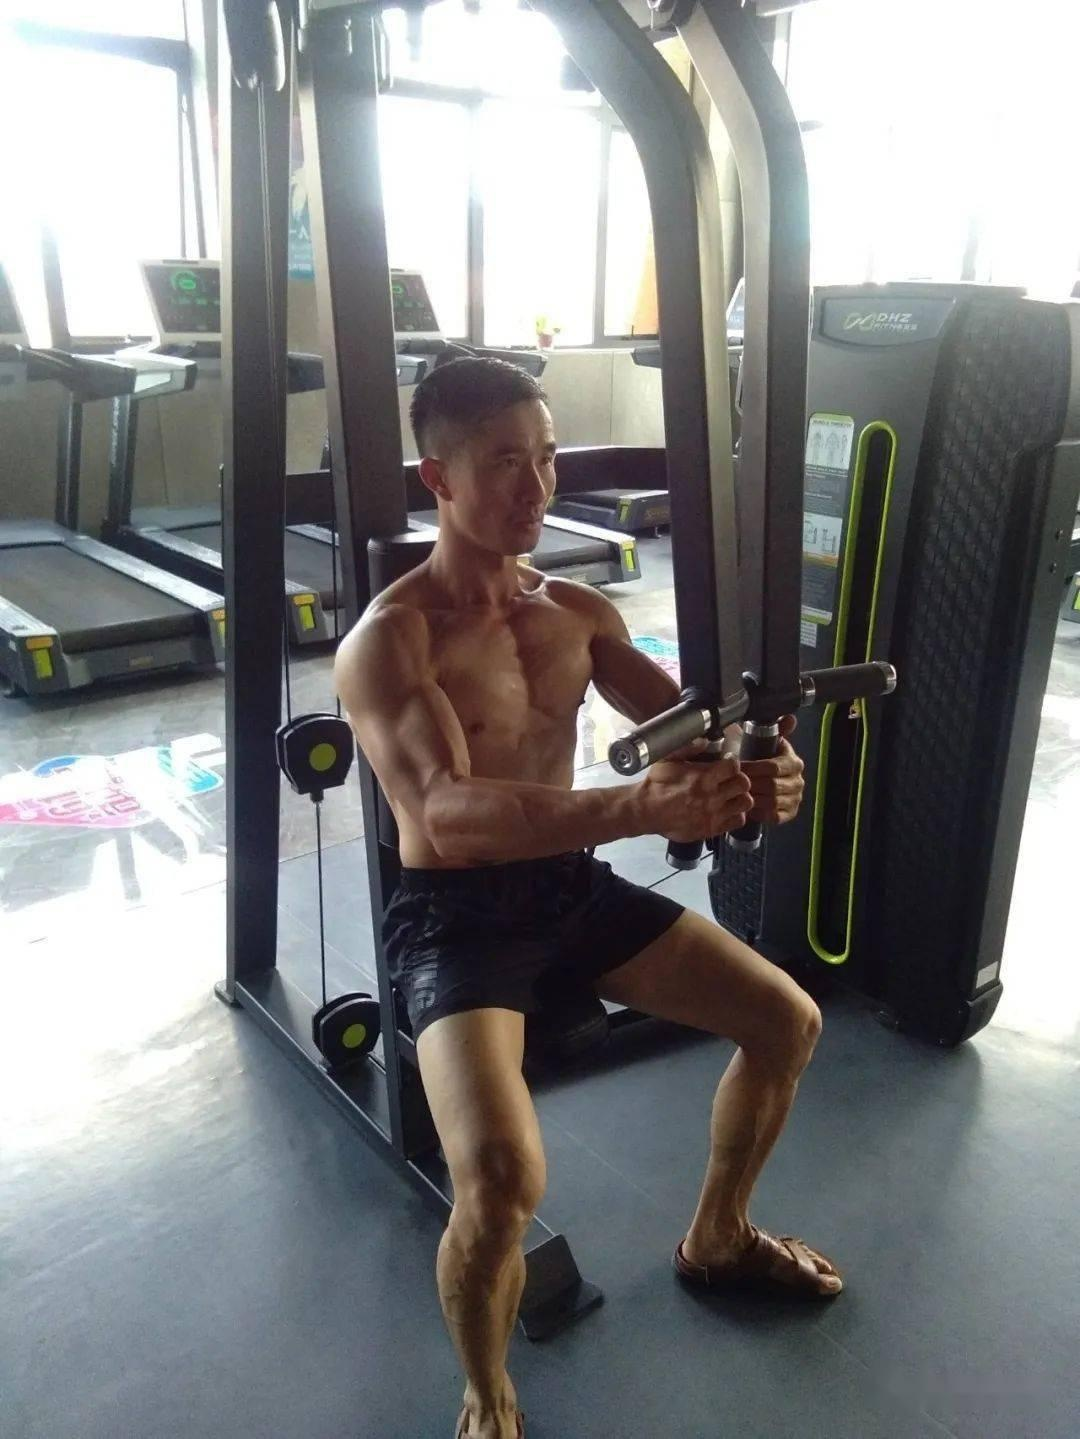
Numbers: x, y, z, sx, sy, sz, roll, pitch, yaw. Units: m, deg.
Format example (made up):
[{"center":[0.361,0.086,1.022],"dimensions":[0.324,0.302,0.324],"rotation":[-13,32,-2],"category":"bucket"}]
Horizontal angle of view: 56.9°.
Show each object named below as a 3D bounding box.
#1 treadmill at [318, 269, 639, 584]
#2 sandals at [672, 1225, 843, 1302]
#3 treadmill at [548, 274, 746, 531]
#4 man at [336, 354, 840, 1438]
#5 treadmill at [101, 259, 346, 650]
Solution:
[{"center":[-0.393,-1.659,5.672],"dimensions":[1.466,1.951,1.205],"rotation":[6,17,24],"category":"treadmill"},{"center":[0.333,0.791,1.505],"dimensions":[0.219,0.097,0.118],"rotation":[0,-4,-1],"category":"sandals"},{"center":[0.736,-2.236,8.153],"dimensions":[1.715,1.795,1.270],"rotation":[-14,30,-35],"category":"treadmill"},{"center":[0.081,0.207,1.386],"dimensions":[0.682,1.332,0.634],"rotation":[-7,18,-27],"category":"man"},{"center":[-1.492,-1.460,5.402],"dimensions":[1.950,1.593,0.984],"rotation":[28,31,34],"category":"treadmill"}]
